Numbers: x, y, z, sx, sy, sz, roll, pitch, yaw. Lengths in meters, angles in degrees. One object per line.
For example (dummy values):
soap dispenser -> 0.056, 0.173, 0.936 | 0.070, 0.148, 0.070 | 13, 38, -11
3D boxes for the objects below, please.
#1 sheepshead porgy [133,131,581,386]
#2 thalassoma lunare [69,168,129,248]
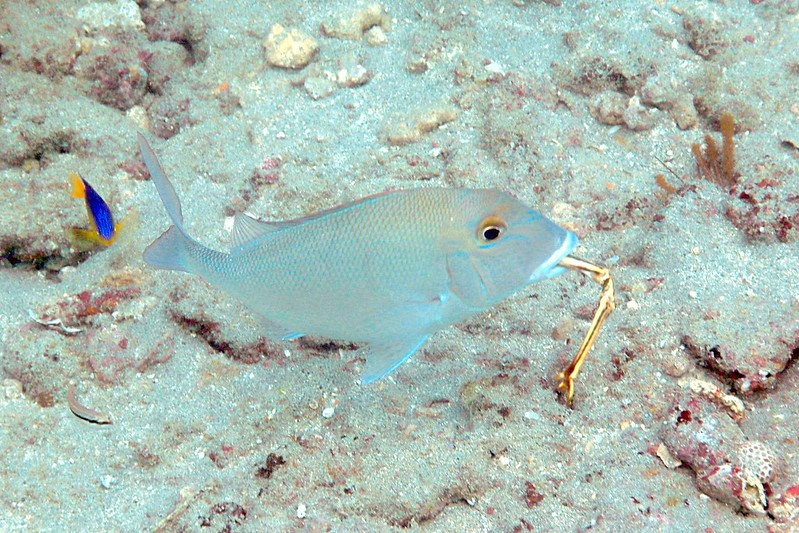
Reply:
sheepshead porgy -> -0.474, -0.013, 8.083 | 3.842, 1.242, 2.094 | 2, -60, 7
thalassoma lunare -> -2.998, -0.605, 8.941 | 0.513, 0.648, 0.679 | -10, -68, -22
